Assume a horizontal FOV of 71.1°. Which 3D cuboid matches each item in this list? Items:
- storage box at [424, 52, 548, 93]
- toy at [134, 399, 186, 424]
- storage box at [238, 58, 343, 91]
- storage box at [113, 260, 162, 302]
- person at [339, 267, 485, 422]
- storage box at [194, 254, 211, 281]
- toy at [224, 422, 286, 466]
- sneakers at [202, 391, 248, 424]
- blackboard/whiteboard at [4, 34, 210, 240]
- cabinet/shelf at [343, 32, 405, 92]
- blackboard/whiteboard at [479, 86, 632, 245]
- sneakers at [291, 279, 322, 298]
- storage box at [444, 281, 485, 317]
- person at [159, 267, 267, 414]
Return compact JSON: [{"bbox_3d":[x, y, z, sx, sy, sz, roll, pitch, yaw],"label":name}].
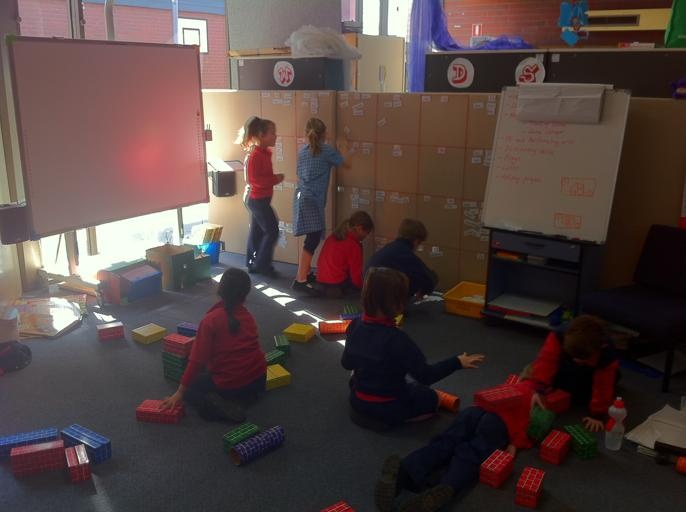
[{"bbox_3d":[1.494,-1.984,5.163,1.256,0.405,0.105,10,20,25],"label":"storage box"},{"bbox_3d":[-1.239,1.053,3.249,0.293,0.125,0.135,7,19,18],"label":"toy"},{"bbox_3d":[-0.671,-2.233,5.871,1.330,0.363,0.414,10,20,24],"label":"storage box"},{"bbox_3d":[-2.114,0.293,5.007,0.306,0.366,0.527,4,16,28],"label":"storage box"},{"bbox_3d":[0.347,0.608,3.273,1.020,0.999,0.555,5,7,43],"label":"person"},{"bbox_3d":[-1.612,0.143,5.485,0.152,0.300,0.282,3,2,8],"label":"storage box"},{"bbox_3d":[-0.532,1.118,2.910,0.133,0.121,0.333,26,26,34],"label":"toy"},{"bbox_3d":[-0.783,1.016,3.242,0.297,0.124,0.150,14,30,22],"label":"sneakers"},{"bbox_3d":[-2.160,-1.099,4.332,0.068,1.646,2.025,18,29,36],"label":"blackboard/whiteboard"},{"bbox_3d":[0.529,-2.861,7.088,0.349,0.785,1.384,13,22,34],"label":"cabinet/shelf"},{"bbox_3d":[1.885,-0.778,4.170,1.179,1.435,0.276,11,2,27],"label":"blackboard/whiteboard"},{"bbox_3d":[-0.355,0.351,5.249,0.397,0.164,0.138,14,17,17],"label":"sneakers"},{"bbox_3d":[1.206,0.426,4.770,0.345,0.124,0.361,4,17,26],"label":"storage box"},{"bbox_3d":[-1.014,0.678,3.694,0.431,0.676,0.763,25,27,36],"label":"person"}]
